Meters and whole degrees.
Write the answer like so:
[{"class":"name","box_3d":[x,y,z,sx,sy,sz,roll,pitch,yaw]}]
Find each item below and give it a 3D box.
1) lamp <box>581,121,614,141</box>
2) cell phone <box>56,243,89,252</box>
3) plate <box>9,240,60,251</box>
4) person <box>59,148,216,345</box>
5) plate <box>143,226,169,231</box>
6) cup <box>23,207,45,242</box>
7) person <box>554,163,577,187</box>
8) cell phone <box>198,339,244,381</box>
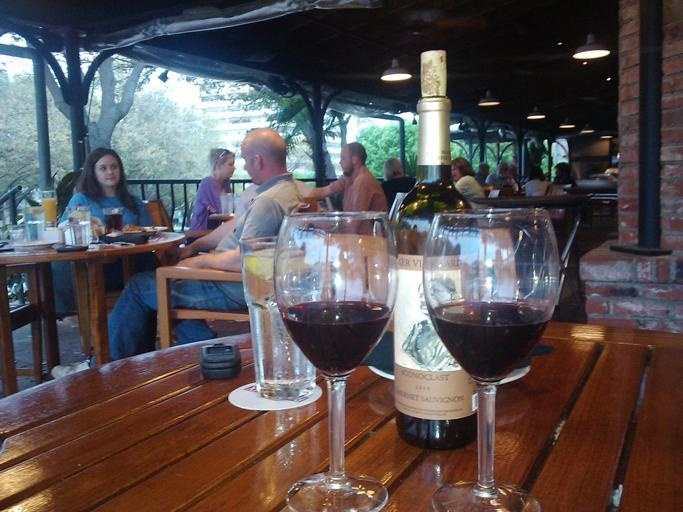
[{"class":"lamp","box_3d":[8.323,-4.078,17.522,1.085,0.242,0.961,0,6,8]},{"class":"cell phone","box_3d":[-1.180,-0.037,2.395,0.123,0.018,0.158,-8,14,-29]},{"class":"plate","box_3d":[-1.370,-0.046,2.430,0.150,0.033,0.149,-6,13,-21]},{"class":"person","box_3d":[-1.538,-0.165,3.770,0.821,1.109,0.769,0,10,32]},{"class":"plate","box_3d":[-1.115,-0.167,3.276,0.098,0.021,0.092,2,5,12]},{"class":"cup","box_3d":[-1.441,-0.154,2.569,0.091,0.156,0.169,-9,15,-28]},{"class":"person","box_3d":[4.308,-1.587,10.494,0.343,0.381,0.735,4,13,21]},{"class":"cell phone","box_3d":[-0.208,0.172,0.937,0.073,0.038,0.117,-2,5,-12]}]
